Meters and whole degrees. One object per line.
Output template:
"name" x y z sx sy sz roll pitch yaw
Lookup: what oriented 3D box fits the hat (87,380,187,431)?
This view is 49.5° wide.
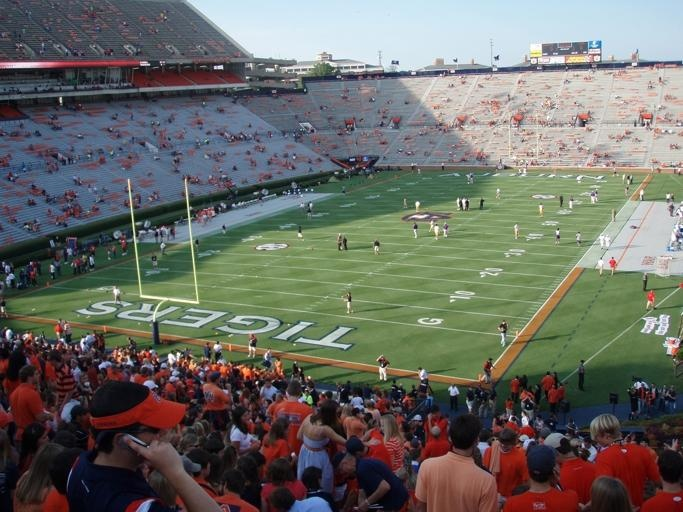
"hat" -1.783 1.298 6.443 0.841 0.214 0.427 5 13 -6

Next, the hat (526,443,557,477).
"hat" 2.107 2.134 7.804 0.301 0.151 0.352 3 23 23

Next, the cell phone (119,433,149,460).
"cell phone" -1.783 1.618 6.339 0.346 0.150 0.075 21 34 7

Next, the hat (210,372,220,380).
"hat" -2.184 2.052 12.706 0.130 0.169 0.273 -1 7 1

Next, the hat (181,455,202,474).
"hat" -1.610 2.220 7.885 0.336 0.118 0.171 8 24 -3

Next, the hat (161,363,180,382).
"hat" -4.081 2.830 17.842 0.330 0.671 0.310 1 23 -1
